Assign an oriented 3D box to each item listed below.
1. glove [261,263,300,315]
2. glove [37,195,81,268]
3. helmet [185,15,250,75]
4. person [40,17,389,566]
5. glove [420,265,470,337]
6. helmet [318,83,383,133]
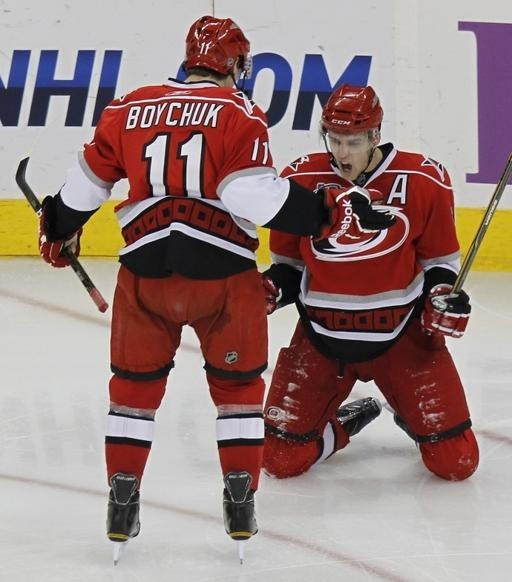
[{"bbox_3d":[0.082,-0.002,2.156,0.098,0.142,0.065,-9,-33,40],"label":"glove"},{"bbox_3d":[-0.461,-0.150,1.863,0.151,0.059,0.177,-2,-26,-12],"label":"glove"},{"bbox_3d":[-0.103,-0.554,1.751,0.154,0.134,0.170,9,34,5],"label":"helmet"},{"bbox_3d":[-0.187,-0.012,1.754,0.729,1.222,0.574,14,20,41],"label":"person"},{"bbox_3d":[0.495,0.031,2.048,0.164,0.169,0.076,7,-9,-17],"label":"glove"},{"bbox_3d":[0.248,-0.470,1.958,0.151,0.137,0.161,5,14,16],"label":"helmet"}]
